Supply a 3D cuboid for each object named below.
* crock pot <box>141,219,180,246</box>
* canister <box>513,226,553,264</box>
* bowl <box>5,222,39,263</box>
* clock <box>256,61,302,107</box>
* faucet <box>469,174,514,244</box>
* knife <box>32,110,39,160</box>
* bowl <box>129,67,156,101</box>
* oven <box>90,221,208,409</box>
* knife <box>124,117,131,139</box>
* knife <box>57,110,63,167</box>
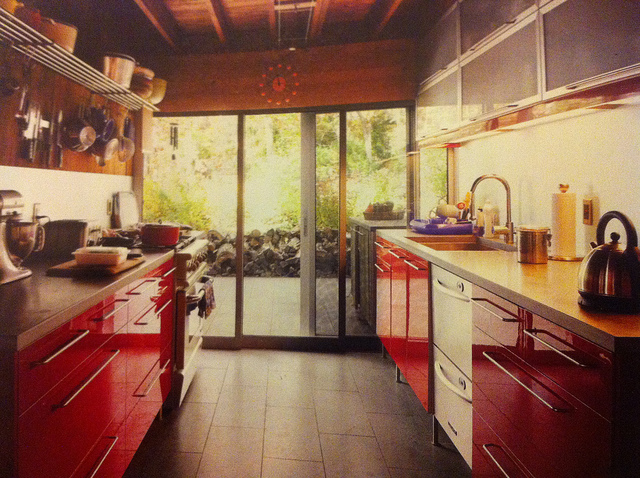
[{"bbox_3d":[-1.026,-0.038,3.086,0.179,0.107,0.141,-1,0,37],"label":"crock pot"},{"bbox_3d":[1.076,0.015,2.438,0.136,0.199,0.220,-15,16,-35],"label":"canister"},{"bbox_3d":[-1.444,0.011,2.309,0.155,0.184,0.177,2,-5,-30],"label":"bowl"},{"bbox_3d":[-0.337,-1.270,3.856,0.344,0.360,0.171,7,7,2],"label":"clock"},{"bbox_3d":[1.149,-0.235,3.218,0.235,0.406,0.696,0,11,-1],"label":"faucet"},{"bbox_3d":[-1.610,-0.580,2.711,0.021,0.228,0.018,2,6,-13],"label":"knife"},{"bbox_3d":[-1.278,-1.115,3.484,0.193,0.231,0.191,4,4,0],"label":"bowl"},{"bbox_3d":[-1.152,0.518,3.532,0.567,1.043,1.096,2,2,-8],"label":"oven"},{"bbox_3d":[-1.473,-0.860,3.666,0.051,0.153,0.110,-3,11,-21],"label":"knife"},{"bbox_3d":[-1.595,-0.624,2.911,0.040,0.314,0.043,15,14,39],"label":"knife"}]
